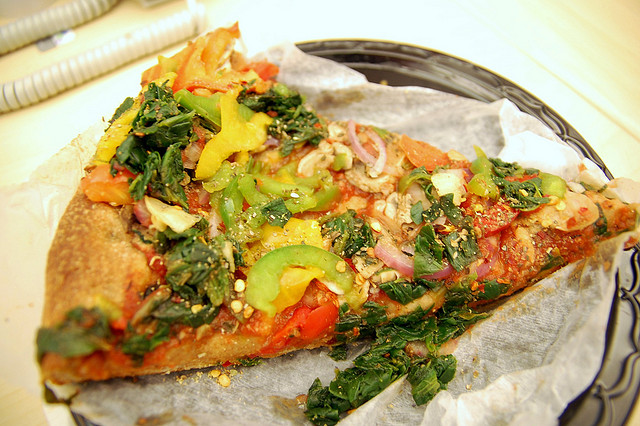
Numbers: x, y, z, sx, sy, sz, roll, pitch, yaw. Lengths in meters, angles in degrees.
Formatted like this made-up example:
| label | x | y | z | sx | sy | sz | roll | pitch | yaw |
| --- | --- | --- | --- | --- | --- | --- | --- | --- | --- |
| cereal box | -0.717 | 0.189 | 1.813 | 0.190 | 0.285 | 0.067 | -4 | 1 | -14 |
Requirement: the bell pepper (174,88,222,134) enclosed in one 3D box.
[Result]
| label | x | y | z | sx | sy | sz | roll | pitch | yaw |
| --- | --- | --- | --- | --- | --- | --- | --- | --- | --- |
| bell pepper | -1.118 | -1.009 | 5.433 | 0.420 | 0.148 | 0.422 | 35 | 18 | -25 |

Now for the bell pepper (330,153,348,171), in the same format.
| label | x | y | z | sx | sy | sz | roll | pitch | yaw |
| --- | --- | --- | --- | --- | --- | --- | --- | --- | --- |
| bell pepper | 0.188 | -0.497 | 5.579 | 0.116 | 0.155 | 0.054 | 22 | 5 | 8 |
